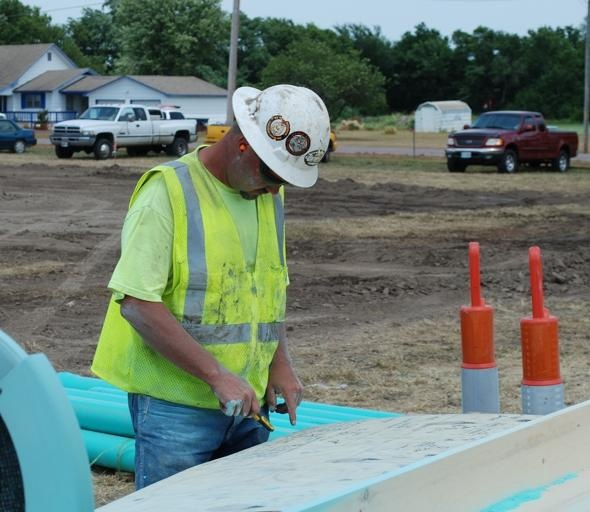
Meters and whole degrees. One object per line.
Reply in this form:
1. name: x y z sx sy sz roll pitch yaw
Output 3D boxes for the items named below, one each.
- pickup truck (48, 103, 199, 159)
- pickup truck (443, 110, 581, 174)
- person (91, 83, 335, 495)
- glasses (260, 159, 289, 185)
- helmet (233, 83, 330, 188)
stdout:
1. pickup truck: -3.789 -2.686 26.660 1.481 1.023 3.022 2 5 38
2. pickup truck: 4.055 -2.080 22.799 1.299 0.845 2.254 3 3 43
3. person: -0.342 0.149 5.257 0.966 1.749 0.576 -5 11 -25
4. glasses: -0.093 -0.357 5.200 0.047 0.108 0.086 -9 6 -22
5. helmet: -0.060 -0.518 5.259 0.423 0.438 0.276 -1 10 -2
